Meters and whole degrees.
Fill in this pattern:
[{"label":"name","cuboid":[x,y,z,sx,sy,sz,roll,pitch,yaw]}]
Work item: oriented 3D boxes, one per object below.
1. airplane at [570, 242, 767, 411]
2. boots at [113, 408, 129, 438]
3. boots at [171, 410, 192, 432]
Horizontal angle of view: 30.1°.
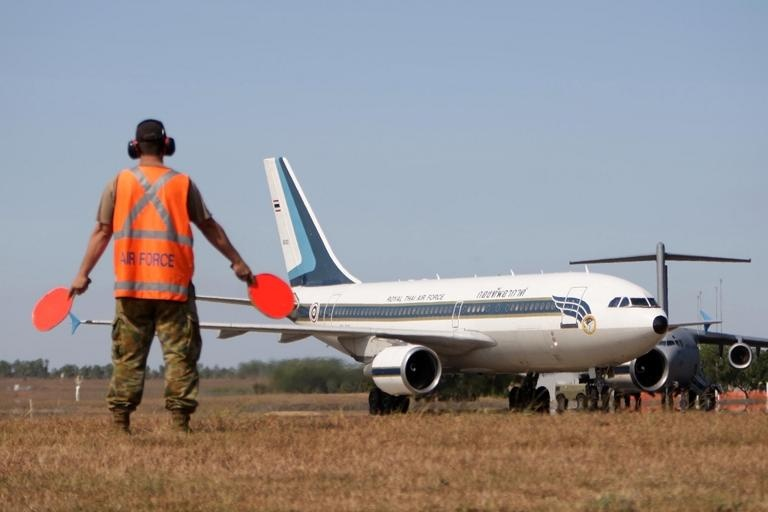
[{"label":"airplane","cuboid":[7.618,2.335,35.001,5.603,3.074,5.746,-1,-3,8]},{"label":"boots","cuboid":[-3.919,2.479,21.332,0.322,0.481,0.318,-1,3,-3]},{"label":"boots","cuboid":[-3.038,2.450,21.311,0.330,0.492,0.314,-1,8,-11]}]
